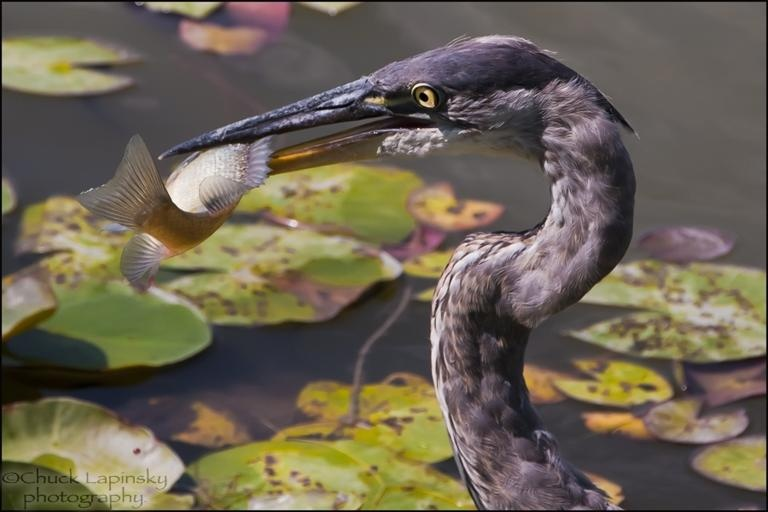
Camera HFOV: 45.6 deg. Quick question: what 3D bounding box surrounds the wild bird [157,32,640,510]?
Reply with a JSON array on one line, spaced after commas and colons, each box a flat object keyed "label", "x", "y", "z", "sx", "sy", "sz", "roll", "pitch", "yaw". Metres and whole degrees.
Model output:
[{"label": "wild bird", "x": 0.159, "y": -0.057, "z": 2.485, "sx": 1.245, "sy": 1.166, "sz": 0.778, "roll": 3, "pitch": 15, "yaw": 8}]

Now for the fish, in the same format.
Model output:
[{"label": "fish", "x": -0.457, "y": -0.108, "z": 2.028, "sx": 0.364, "sy": 0.341, "sz": 0.171, "roll": -11, "pitch": 36, "yaw": -44}]
